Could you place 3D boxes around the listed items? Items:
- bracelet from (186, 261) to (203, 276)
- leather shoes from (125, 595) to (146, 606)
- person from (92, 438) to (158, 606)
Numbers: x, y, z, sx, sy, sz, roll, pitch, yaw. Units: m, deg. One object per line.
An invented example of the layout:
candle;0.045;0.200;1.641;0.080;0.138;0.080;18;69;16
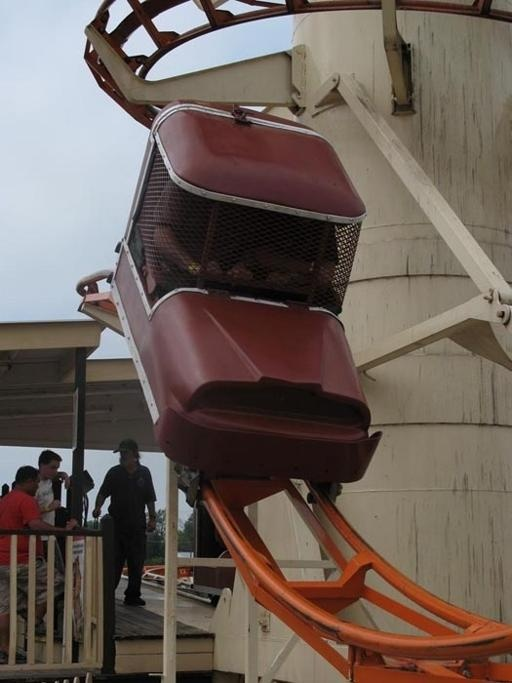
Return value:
bracelet;-0.379;-0.450;8.032;0.082;0.089;0.031;-4;8;1
leather shoes;-1.155;2.501;12.397;0.228;0.107;0.078;-7;-9;24
person;-1.208;1.694;12.115;0.548;1.576;1.045;1;-11;-5
